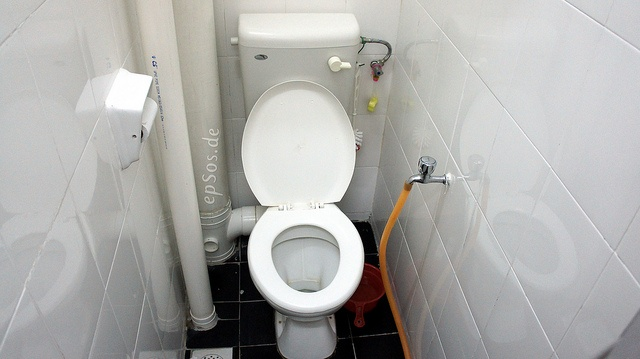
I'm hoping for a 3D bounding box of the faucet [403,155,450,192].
[{"bbox_3d":[0.450,-0.026,1.805,0.183,0.107,0.107,1,-29,2],"label":"faucet"}]

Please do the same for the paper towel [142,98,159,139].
[{"bbox_3d":[-0.590,-0.213,1.451,0.039,0.158,0.134,-1,-2,-3],"label":"paper towel"}]
